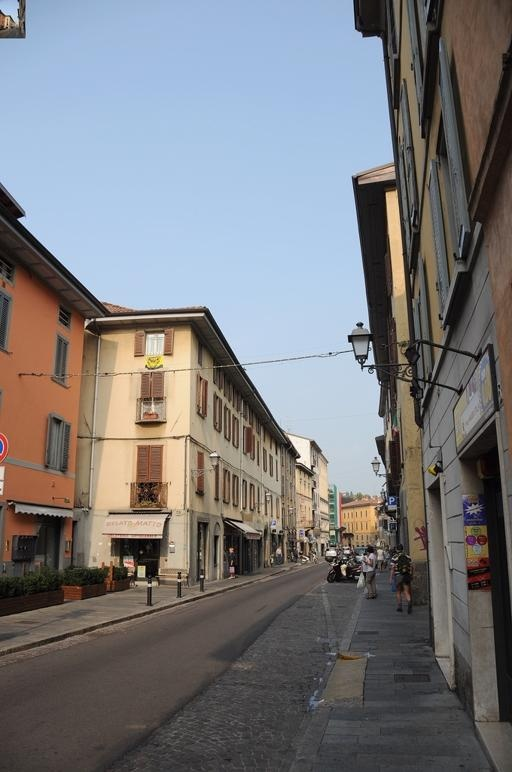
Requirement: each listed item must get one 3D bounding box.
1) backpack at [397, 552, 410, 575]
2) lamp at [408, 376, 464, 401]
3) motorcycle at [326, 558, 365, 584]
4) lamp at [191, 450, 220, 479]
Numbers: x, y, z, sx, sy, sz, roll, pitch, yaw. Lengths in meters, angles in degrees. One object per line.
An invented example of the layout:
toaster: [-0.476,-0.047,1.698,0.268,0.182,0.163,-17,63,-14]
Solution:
backpack: [4.263,5.234,15.449,0.357,0.617,0.535,0,-9,14]
lamp: [2.505,0.022,7.361,0.191,0.370,0.760,16,5,-32]
motorcycle: [5.153,10.760,30.541,1.352,1.353,3.025,-10,-18,24]
lamp: [-2.574,3.881,27.691,0.792,1.482,2.914,5,-22,-10]
